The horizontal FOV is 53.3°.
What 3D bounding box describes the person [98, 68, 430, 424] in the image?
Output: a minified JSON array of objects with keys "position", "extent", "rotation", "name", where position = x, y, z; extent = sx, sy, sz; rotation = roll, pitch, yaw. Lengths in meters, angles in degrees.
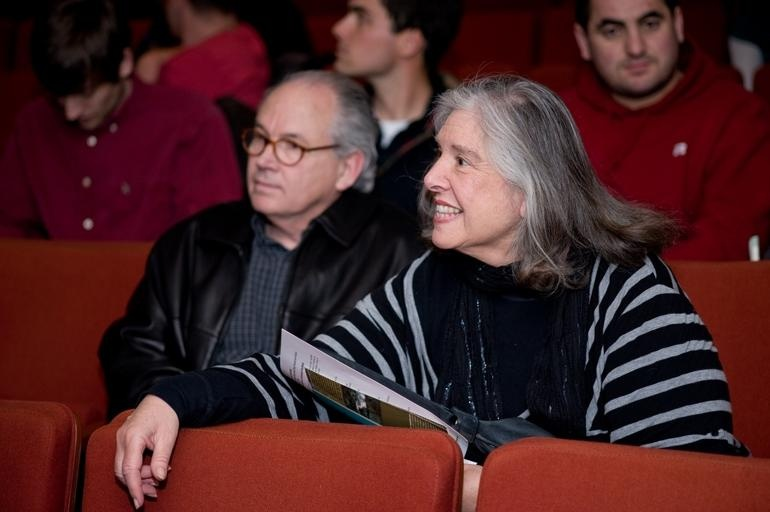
[{"position":[-0.226,0.010,1.640],"extent":[0.792,0.746,0.523],"rotation":[2,4,17],"name":"person"}]
